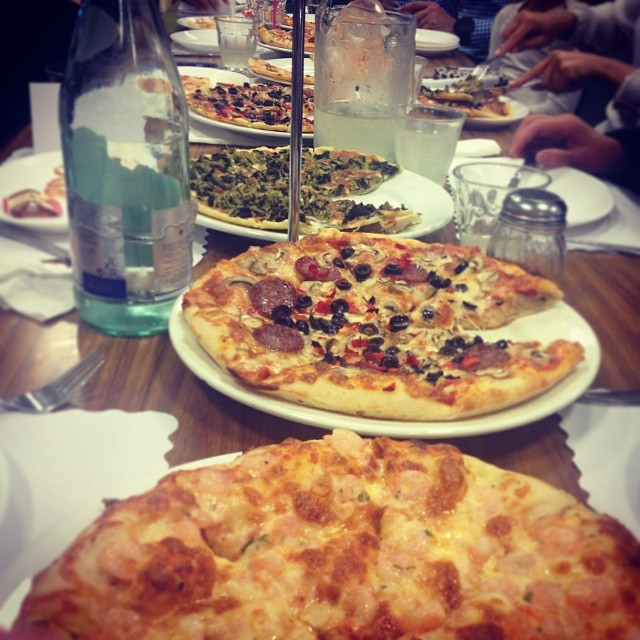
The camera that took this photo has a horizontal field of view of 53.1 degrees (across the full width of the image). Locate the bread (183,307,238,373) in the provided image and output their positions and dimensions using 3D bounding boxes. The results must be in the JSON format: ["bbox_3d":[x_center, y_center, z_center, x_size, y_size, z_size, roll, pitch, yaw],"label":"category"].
[{"bbox_3d":[-0.178,0.034,1.007,0.069,0.022,0.102,6,39,-53],"label":"bread"}]

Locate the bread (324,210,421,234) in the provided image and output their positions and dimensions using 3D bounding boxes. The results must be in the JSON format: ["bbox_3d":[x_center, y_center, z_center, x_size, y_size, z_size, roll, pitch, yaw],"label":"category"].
[{"bbox_3d":[0.133,-0.248,1.617,0.170,0.029,0.083,3,26,17],"label":"bread"}]

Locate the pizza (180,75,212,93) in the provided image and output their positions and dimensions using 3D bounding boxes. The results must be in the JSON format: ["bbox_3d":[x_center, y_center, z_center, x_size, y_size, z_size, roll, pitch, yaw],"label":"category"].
[{"bbox_3d":[-0.566,-1.072,2.916,0.225,0.042,0.190,-5,34,-13],"label":"pizza"}]

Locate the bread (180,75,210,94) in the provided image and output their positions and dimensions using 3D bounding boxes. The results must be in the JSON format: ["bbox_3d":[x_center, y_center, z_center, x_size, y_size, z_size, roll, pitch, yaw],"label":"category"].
[{"bbox_3d":[-0.569,-1.072,2.916,0.195,0.038,0.163,-3,33,-7],"label":"bread"}]

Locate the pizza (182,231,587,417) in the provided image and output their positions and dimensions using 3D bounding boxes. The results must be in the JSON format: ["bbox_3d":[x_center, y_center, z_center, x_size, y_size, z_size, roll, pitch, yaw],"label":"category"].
[{"bbox_3d":[0.115,0.000,1.148,0.518,0.059,0.429,11,26,19],"label":"pizza"}]

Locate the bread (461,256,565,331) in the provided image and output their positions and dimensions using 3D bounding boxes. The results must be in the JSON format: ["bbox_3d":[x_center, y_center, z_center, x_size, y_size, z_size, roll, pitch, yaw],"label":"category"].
[{"bbox_3d":[0.367,-0.039,1.215,0.193,0.042,0.170,5,24,14],"label":"bread"}]

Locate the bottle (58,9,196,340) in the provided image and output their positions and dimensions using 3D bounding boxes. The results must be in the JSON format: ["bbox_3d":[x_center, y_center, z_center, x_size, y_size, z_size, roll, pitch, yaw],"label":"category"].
[{"bbox_3d":[-0.348,-0.256,1.124,0.242,0.510,0.407,-2,35,-11],"label":"bottle"}]

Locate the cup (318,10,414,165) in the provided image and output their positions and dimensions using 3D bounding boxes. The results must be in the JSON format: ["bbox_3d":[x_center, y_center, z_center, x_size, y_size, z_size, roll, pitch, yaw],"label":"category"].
[{"bbox_3d":[0.166,-0.786,2.222,0.495,0.452,0.282,0,32,-6],"label":"cup"}]
